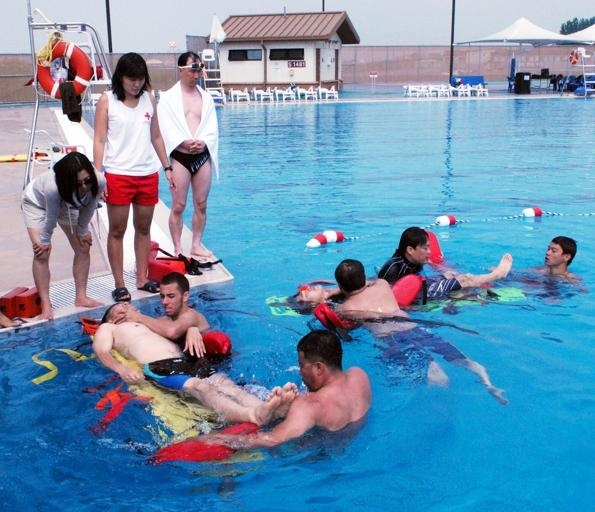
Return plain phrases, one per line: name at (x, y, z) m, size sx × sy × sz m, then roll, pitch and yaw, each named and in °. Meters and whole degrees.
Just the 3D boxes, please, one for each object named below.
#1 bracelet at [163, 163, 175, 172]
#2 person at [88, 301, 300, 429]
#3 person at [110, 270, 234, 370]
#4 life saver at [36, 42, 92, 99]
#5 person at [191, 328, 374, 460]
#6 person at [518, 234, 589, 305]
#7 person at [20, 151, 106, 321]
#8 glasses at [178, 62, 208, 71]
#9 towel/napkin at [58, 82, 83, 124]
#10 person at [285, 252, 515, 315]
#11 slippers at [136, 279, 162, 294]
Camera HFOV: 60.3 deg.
bracelet at (-1.268, -0.855, 5.030) m, size 0.124 × 0.053 × 0.121 m, roll -6°, pitch 10°, yaw -16°
person at (-0.679, 0.646, 3.334) m, size 1.327 × 0.290 × 0.588 m, roll 11°, pitch -8°, yaw 42°
person at (-1.006, 0.516, 3.896) m, size 1.037 × 0.589 × 0.541 m, roll 5°, pitch 5°, yaw -23°
life saver at (-3.040, -2.464, 6.748) m, size 0.574 × 0.798 × 0.821 m, roll -10°, pitch 15°, yaw -39°
person at (0.048, 0.774, 3.133) m, size 0.678 × 0.540 × 1.279 m, roll 7°, pitch 16°, yaw 44°
person at (2.644, 0.098, 5.284) m, size 0.634 × 0.558 × 0.748 m, roll 3°, pitch 12°, yaw 16°
person at (-1.847, -0.134, 4.153) m, size 0.586 × 1.386 × 0.883 m, roll -7°, pitch 14°, yaw -29°
glasses at (-1.126, -1.990, 5.416) m, size 0.259 × 0.086 × 0.262 m, roll -2°, pitch 11°, yaw -13°
towel/napkin at (-2.922, -1.984, 6.622) m, size 0.385 × 0.424 × 0.165 m, roll -2°, pitch 17°, yaw -10°
person at (1.098, 0.285, 4.799) m, size 1.316 × 0.223 × 0.631 m, roll 8°, pitch 7°, yaw 6°
slippers at (-1.402, 0.301, 4.893) m, size 0.235 × 0.075 × 0.124 m, roll 6°, pitch 23°, yaw 25°
